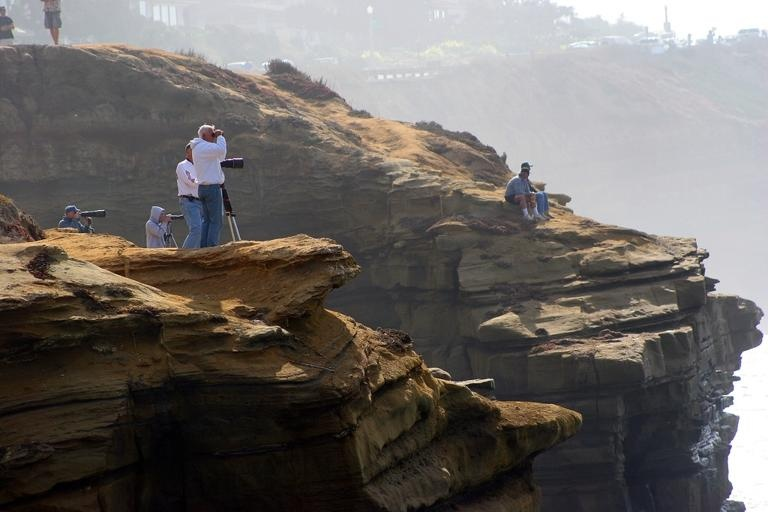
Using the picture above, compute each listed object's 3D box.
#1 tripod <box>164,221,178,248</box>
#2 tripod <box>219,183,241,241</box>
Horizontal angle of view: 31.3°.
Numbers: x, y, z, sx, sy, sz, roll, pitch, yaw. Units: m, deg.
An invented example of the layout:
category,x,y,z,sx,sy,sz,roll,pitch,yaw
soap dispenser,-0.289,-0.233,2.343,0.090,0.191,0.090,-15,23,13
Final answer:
category,x,y,z,sx,sy,sz,roll,pitch,yaw
tripod,-16.314,-1.687,103.756,1.110,2.097,1.200,-23,41,-30
tripod,-11.690,-3.628,104.987,0.708,4.836,0.436,-22,-17,20
